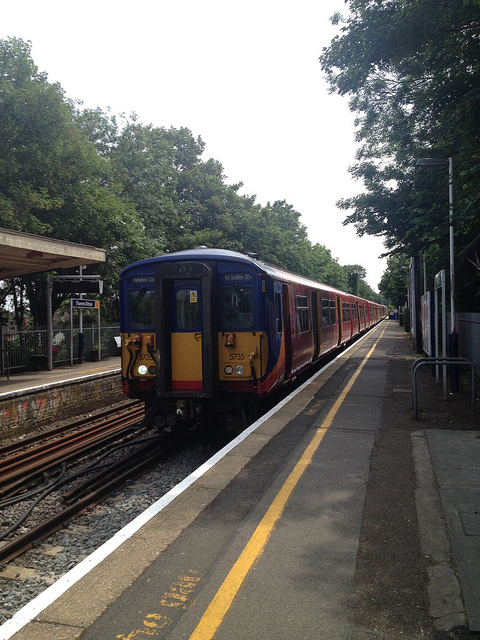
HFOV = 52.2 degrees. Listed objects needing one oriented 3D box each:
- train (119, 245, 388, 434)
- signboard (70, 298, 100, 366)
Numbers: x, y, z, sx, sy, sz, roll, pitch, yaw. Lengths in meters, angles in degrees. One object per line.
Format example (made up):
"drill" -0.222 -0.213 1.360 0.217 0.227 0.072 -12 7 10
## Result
"train" 1.348 0.336 15.930 2.328 3.281 16.983 -1 0 14
"signboard" -6.298 0.338 20.170 1.707 2.488 0.129 4 6 31
